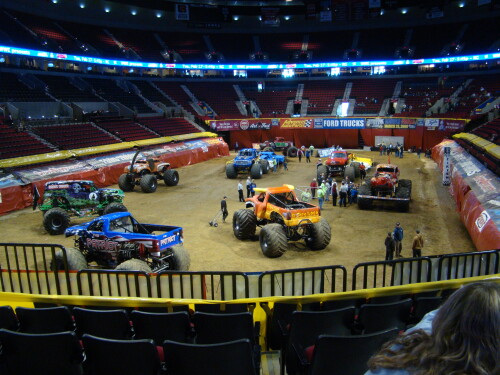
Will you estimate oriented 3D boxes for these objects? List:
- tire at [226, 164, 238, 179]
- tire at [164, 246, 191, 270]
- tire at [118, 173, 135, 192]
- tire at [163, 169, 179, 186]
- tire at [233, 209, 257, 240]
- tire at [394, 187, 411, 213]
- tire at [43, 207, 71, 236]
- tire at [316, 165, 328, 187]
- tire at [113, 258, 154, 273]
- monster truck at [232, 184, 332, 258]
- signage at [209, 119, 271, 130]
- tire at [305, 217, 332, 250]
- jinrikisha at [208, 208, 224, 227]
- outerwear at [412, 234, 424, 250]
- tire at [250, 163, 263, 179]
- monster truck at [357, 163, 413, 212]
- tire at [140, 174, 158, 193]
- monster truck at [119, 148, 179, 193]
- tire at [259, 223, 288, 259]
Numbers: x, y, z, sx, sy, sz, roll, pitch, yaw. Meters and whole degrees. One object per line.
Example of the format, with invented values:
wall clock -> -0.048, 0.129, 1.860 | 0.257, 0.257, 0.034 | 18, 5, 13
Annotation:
tire -> -1.337, -1.211, 26.879 | 0.557, 1.074, 1.189 | -4, -7, 14
tire -> -2.175, 2.115, 10.537 | 0.878, 0.756, 0.373 | -16, -10, 2
tire -> -7.899, -0.289, 23.013 | 0.561, 1.155, 1.289 | -4, -9, 21
tire -> -5.500, -0.649, 24.847 | 0.561, 1.160, 1.297 | 3, 3, 24
tire -> -0.201, 1.464, 13.889 | 0.623, 1.154, 1.263 | -1, -6, -13
tire -> 7.584, 0.637, 17.847 | 0.593, 1.173, 1.300 | 2, 8, 21
tire -> -8.231, 1.496, 15.225 | 1.148, 0.987, 0.362 | 13, 2, -24
tire -> 4.641, -0.733, 22.946 | 0.652, 1.295, 1.397 | 1, 18, 18
tire -> -2.923, 1.988, 9.045 | 0.740, 0.215, 0.730 | 2, 1, 35
monster truck -> 0.812, 1.169, 13.858 | 2.453, 1.811, 3.588 | -6, 14, -30
signage -> -1.113, -7.575, 43.176 | 7.052, 1.510, 0.537 | -7, -2, -4
tire -> 2.445, 1.723, 13.036 | 0.533, 1.014, 1.090 | 0, -23, -19
jinrikisha -> -1.591, 1.471, 16.688 | 0.925, 0.668, 0.508 | -3, 23, -21
outerwear -> 5.571, 1.839, 11.894 | 0.314, 0.541, 0.404 | -10, -3, 39
tire -> 0.437, -1.176, 26.252 | 0.673, 1.266, 1.381 | 4, 9, 9
monster truck -> 6.783, 0.342, 18.846 | 2.333, 2.106, 0.974 | -26, 23, -16
tire -> -6.485, -0.225, 22.849 | 0.578, 1.114, 1.243 | 2, -7, 24
monster truck -> -6.923, -0.785, 24.269 | 2.492, 2.832, 4.215 | 8, 13, 37
tire -> 0.819, 1.903, 12.415 | 0.634, 1.098, 1.198 | -2, 8, -21
